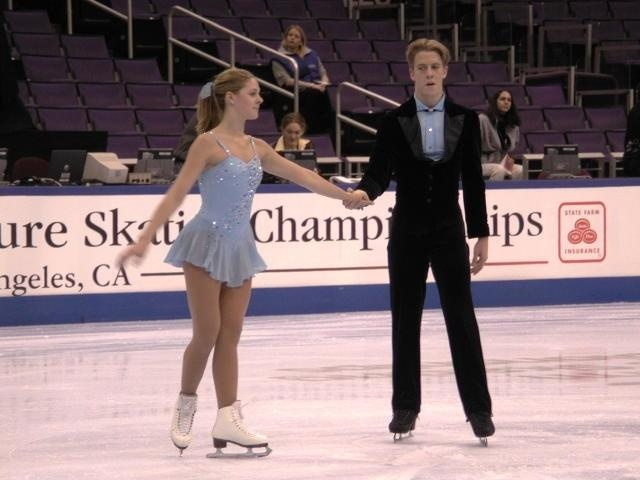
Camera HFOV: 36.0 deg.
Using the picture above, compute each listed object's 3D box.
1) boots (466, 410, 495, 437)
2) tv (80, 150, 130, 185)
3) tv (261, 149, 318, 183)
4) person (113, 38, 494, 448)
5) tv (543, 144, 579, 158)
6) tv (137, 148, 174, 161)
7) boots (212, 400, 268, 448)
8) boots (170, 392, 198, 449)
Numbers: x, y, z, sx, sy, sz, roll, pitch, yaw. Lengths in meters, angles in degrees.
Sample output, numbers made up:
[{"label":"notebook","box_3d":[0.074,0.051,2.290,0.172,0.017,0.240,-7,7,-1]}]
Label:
[{"label":"boots","box_3d":[0.884,1.013,5.313,0.159,0.156,0.149,-2,7,-10]},{"label":"tv","box_3d":[-1.911,-0.627,8.752,0.358,0.221,0.356,1,2,-41]},{"label":"tv","box_3d":[-0.273,-0.668,9.101,0.566,0.307,0.353,0,4,-21]},{"label":"person","box_3d":[0.121,0.006,5.341,1.613,2.170,0.728,0,8,3]},{"label":"tv","box_3d":[2.460,-0.899,10.062,0.327,0.101,0.219,0,6,9]},{"label":"tv","box_3d":[-1.505,-0.766,8.966,0.286,0.049,0.174,0,-2,-10]},{"label":"boots","box_3d":[-0.412,0.986,5.201,0.353,0.224,0.111,-4,-5,32]},{"label":"boots","box_3d":[-0.724,0.958,5.198,0.118,0.310,0.179,7,-23,-24]}]
